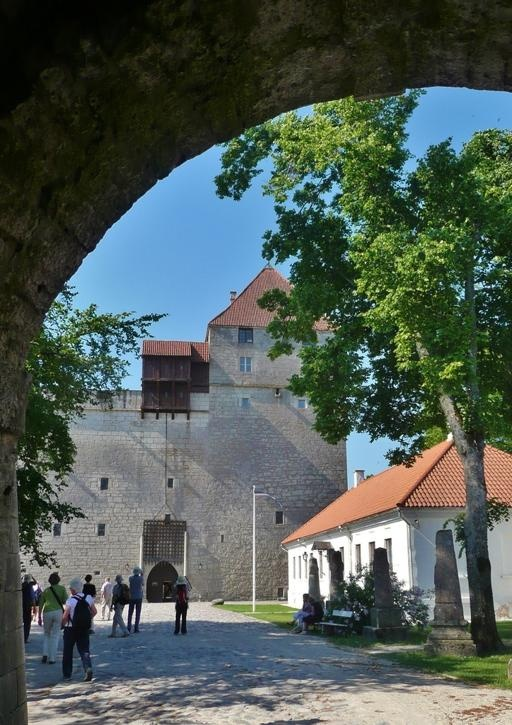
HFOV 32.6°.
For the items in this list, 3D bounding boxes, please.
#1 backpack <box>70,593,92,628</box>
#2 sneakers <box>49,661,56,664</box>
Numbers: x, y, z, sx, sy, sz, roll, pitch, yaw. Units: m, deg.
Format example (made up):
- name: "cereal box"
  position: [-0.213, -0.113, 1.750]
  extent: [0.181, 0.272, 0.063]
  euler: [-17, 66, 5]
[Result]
- name: "backpack"
  position: [-2.254, 3.211, 11.189]
  extent: [0.255, 0.479, 0.234]
  euler: [-6, -4, -14]
- name: "sneakers"
  position: [-3.147, 4.600, 13.424]
  extent: [0.039, 0.043, 0.113]
  euler: [-1, -4, 16]
